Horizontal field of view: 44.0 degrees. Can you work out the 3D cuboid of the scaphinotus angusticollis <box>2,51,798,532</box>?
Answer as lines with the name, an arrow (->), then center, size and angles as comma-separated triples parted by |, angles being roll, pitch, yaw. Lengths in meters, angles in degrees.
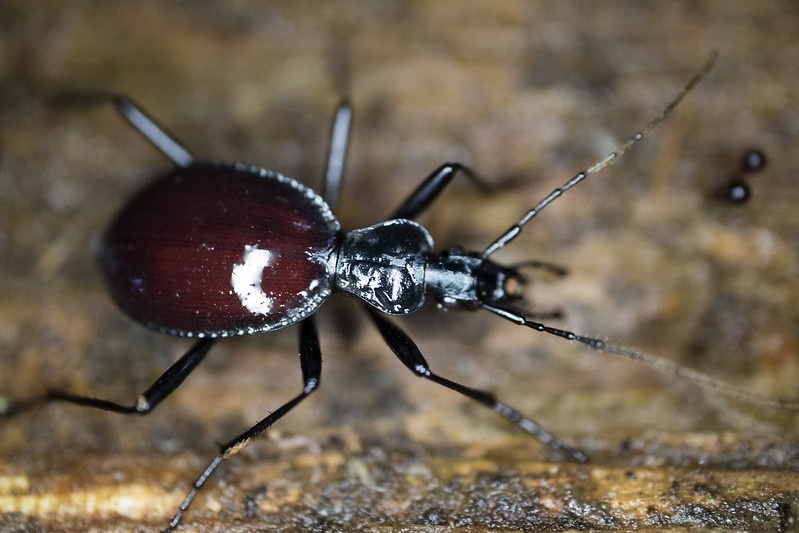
scaphinotus angusticollis -> -0.631, 0.032, 6.505 | 3.658, 0.916, 2.188 | 4, 82, 0
